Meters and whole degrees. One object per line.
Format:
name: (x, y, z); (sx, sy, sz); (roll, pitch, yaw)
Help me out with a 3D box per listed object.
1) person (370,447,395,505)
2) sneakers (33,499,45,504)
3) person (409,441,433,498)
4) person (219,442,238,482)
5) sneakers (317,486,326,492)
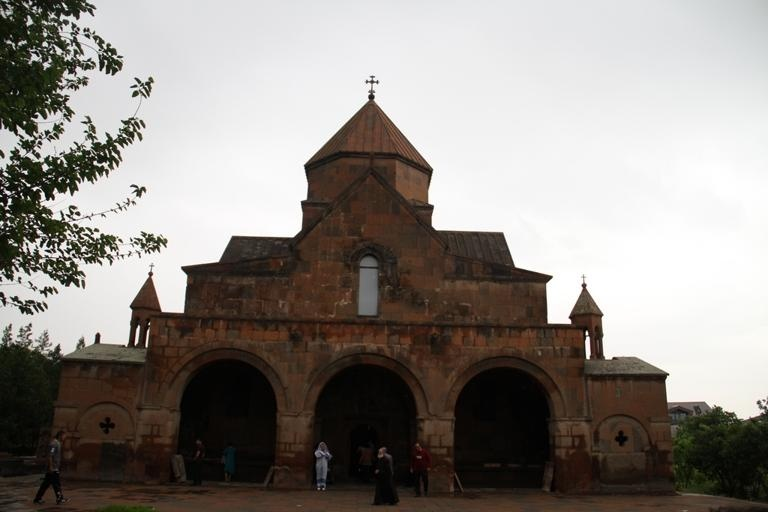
person: (0.056, 6.791, 20.693); (0.668, 1.703, 0.719); (4, -21, -6)
sneakers: (-9.707, 6.944, 18.973); (0.375, 0.154, 0.123); (-3, -13, 0)
person: (1.235, 7.154, 22.713); (0.680, 1.805, 1.503); (1, -21, 3)
person: (-5.826, 7.698, 25.215); (0.533, 1.494, 1.342); (6, -21, -11)
sneakers: (-2.120, 8.038, 23.186); (0.355, 0.239, 0.119); (-2, -10, 6)
